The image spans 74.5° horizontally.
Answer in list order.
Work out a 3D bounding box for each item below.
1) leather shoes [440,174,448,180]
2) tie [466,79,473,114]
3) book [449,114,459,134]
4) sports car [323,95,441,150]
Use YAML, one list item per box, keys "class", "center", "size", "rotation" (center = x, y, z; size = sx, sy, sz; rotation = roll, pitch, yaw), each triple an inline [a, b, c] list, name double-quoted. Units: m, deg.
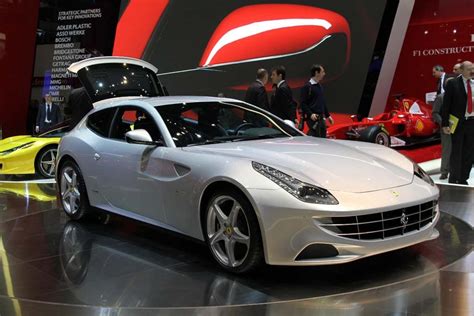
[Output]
- class: "leather shoes"
  center: [4.706, 0.427, 7.133]
  size: [0.089, 0.103, 0.252]
  rotation: [-2, -7, 11]
- class: "tie"
  center: [4.651, -1.229, 6.269]
  size: [0.131, 0.685, 0.179]
  rotation: [1, 8, 17]
- class: "book"
  center: [4.401, -0.687, 6.364]
  size: [0.167, 0.398, 0.110]
  rotation: [4, 10, 37]
- class: "sports car"
  center: [4.304, -0.928, 8.838]
  size: [4.176, 1.356, 1.692]
  rotation: [-5, 4, -29]
